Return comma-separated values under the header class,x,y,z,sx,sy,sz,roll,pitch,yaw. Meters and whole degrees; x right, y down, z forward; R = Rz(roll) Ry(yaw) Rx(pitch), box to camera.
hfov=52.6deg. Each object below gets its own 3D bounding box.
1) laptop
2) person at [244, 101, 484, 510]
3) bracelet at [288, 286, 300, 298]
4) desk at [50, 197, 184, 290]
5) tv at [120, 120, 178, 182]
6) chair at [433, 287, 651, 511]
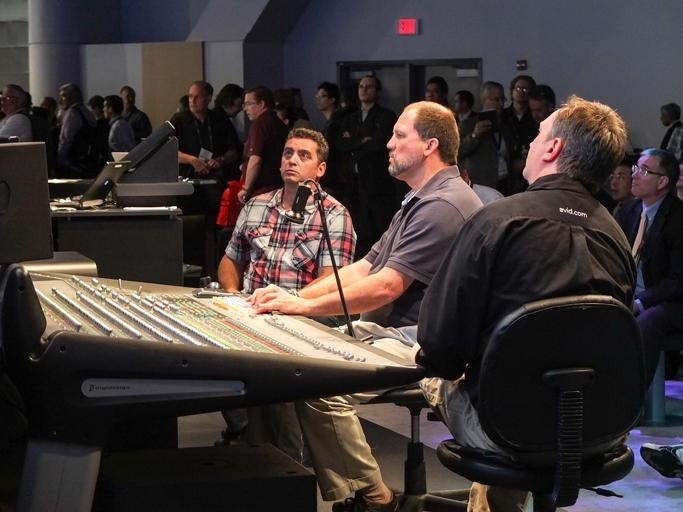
class,x,y,z,sx,sy,sz,roll,pitch,yaw
laptop,-1.697,-0.518,4.581,0.392,0.264,0.395,11,10,21
person,0.260,0.268,3.635,1.444,2.441,1.059,3,-7,-7
bracelet,-0.207,0.150,2.984,0.048,0.021,0.067,1,4,-3
desk,-1.366,-0.040,4.302,0.715,0.521,0.650,0,-5,-9
tv,-1.313,-0.678,4.827,0.389,0.336,0.552,0,5,-8
chair,0.533,0.358,2.051,0.500,0.687,0.565,-1,5,-10
